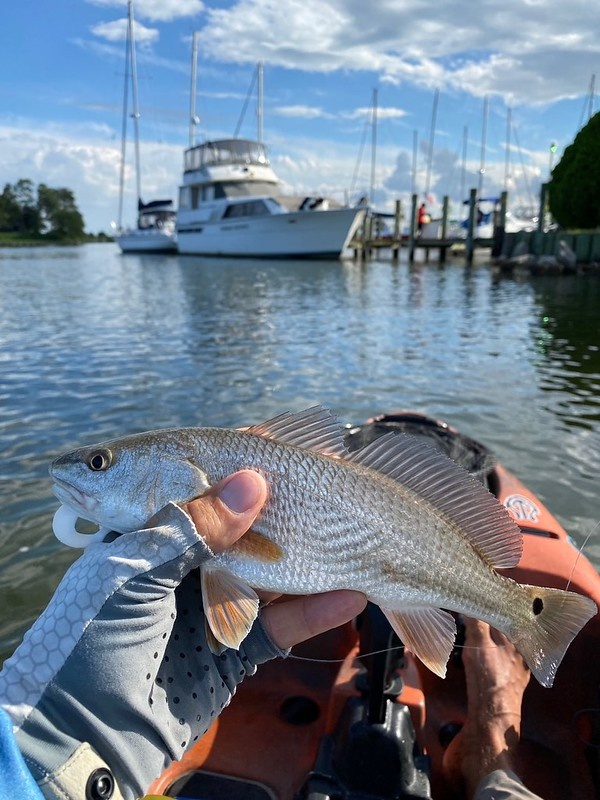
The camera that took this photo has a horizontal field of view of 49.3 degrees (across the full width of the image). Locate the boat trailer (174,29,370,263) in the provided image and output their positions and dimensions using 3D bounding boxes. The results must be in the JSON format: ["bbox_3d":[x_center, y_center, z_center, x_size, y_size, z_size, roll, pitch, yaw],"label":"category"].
[{"bbox_3d":[-2.032,-9.928,31.966,3.953,5.789,11.833,-11,17,-36],"label":"boat trailer"}]
